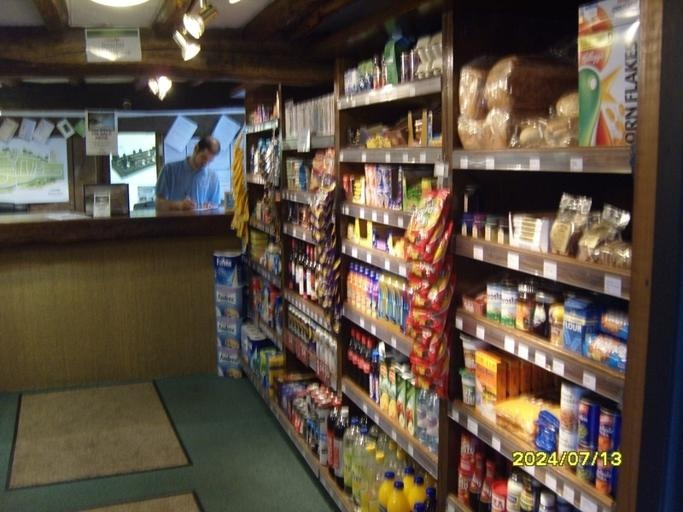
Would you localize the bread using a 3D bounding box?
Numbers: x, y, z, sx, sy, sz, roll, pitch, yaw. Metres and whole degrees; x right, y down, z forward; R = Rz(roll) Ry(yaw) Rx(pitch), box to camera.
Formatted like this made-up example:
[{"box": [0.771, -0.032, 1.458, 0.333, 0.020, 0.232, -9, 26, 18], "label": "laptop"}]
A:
[{"box": [0.850, -0.746, 2.573, 0.450, 0.387, 0.458, -10, 16, -40], "label": "bread"}]

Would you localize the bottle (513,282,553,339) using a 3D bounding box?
[{"box": [0.859, 0.235, 2.371, 0.048, 0.208, 0.196, -5, 11, -26], "label": "bottle"}]
